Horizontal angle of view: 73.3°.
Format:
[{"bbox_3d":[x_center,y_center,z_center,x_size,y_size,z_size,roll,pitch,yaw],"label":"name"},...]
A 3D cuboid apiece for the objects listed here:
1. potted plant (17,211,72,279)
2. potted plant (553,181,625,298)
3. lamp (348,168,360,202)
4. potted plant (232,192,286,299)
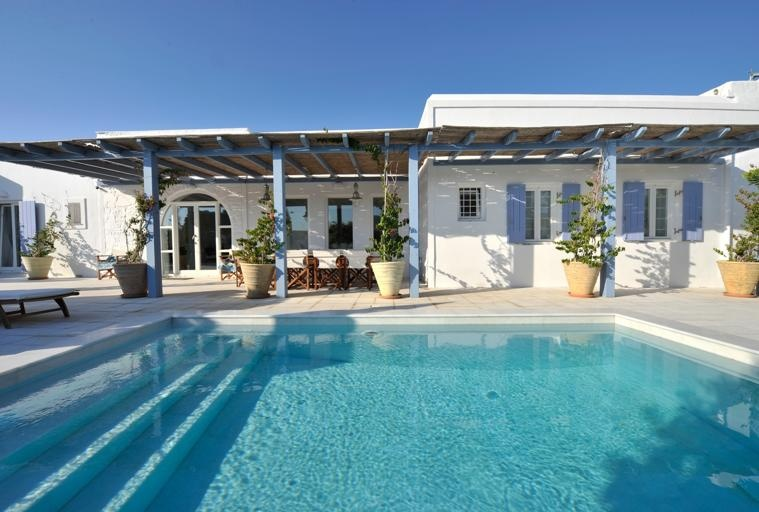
[{"bbox_3d":[-10.791,-0.336,16.458,0.746,2.254,1.216,-3,2,20],"label":"potted plant"},{"bbox_3d":[5.124,-0.436,12.680,1.360,2.818,1.262,-3,2,17],"label":"potted plant"},{"bbox_3d":[-0.744,-2.129,15.986,0.313,0.601,0.677,-4,1,-2],"label":"lamp"},{"bbox_3d":[-3.112,-0.293,13.232,1.113,2.127,1.912,-4,2,-15],"label":"potted plant"}]
